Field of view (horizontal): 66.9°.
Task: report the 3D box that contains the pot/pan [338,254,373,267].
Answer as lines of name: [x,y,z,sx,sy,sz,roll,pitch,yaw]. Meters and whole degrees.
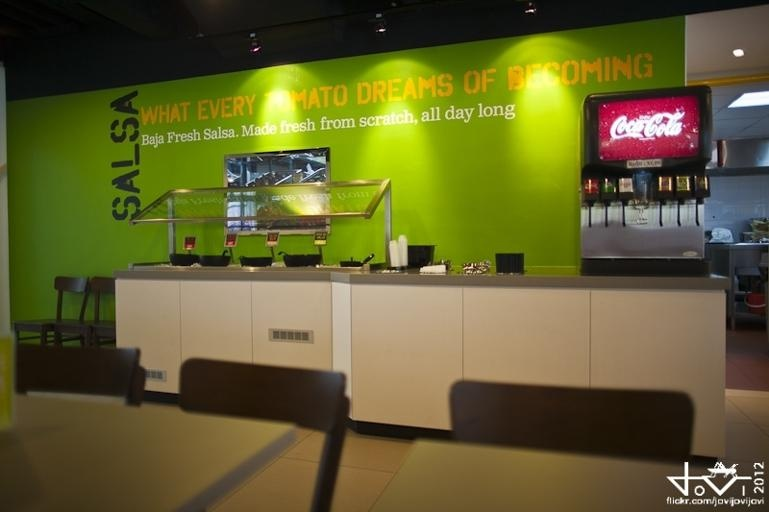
pot/pan: [-0.262,0.044,4.875,0.247,0.086,0.136,1,0,21]

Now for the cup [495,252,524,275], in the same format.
cup: [0.935,0.050,4.343,0.248,0.171,0.136,1,4,23]

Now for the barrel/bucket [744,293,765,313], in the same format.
barrel/bucket: [4.873,0.606,7.635,0.207,0.159,0.205,1,-1,0]

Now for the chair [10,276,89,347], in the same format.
chair: [-3.539,0.660,6.182,0.568,0.878,0.668,0,0,39]

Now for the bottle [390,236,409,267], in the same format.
bottle: [0.108,-0.034,4.527,0.137,0.254,0.070,-1,-1,-12]
